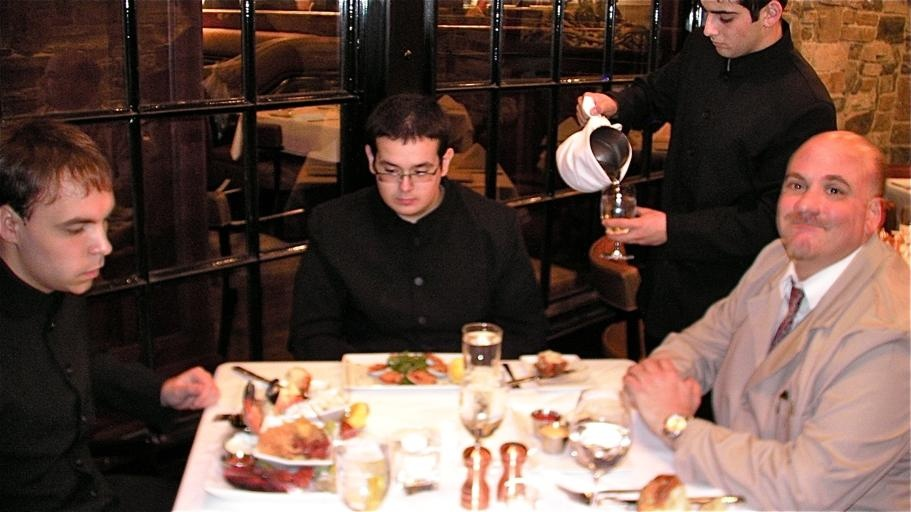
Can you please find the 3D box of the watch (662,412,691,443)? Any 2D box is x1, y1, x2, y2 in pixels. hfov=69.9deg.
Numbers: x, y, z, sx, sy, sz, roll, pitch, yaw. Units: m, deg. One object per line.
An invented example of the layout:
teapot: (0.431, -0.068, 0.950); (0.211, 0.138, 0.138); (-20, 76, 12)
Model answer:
watch: (0.710, 0.551, 2.082); (0.077, 0.087, 0.038); (30, -5, 24)

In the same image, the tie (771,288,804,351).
tie: (1.191, 0.234, 2.329); (0.047, 0.225, 0.065); (17, 7, -5)

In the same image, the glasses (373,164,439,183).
glasses: (-0.193, -0.333, 2.651); (0.252, 0.065, 0.064); (-1, 14, -4)

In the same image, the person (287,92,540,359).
person: (-0.160, -0.126, 2.700); (1.079, 1.058, 0.410); (-2, 14, -6)
